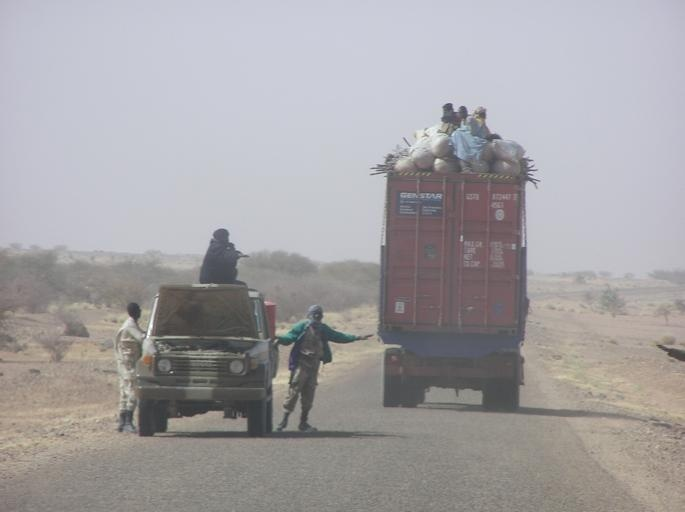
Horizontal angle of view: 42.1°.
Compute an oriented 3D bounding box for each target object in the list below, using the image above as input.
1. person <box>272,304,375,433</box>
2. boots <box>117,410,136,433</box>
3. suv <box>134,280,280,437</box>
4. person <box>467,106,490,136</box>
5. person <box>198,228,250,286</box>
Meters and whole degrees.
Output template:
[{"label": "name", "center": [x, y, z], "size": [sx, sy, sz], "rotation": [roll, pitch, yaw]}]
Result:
[{"label": "person", "center": [-0.703, 2.129, 16.793], "size": [0.625, 2.342, 1.282], "rotation": [-1, -3, 44]}, {"label": "boots", "center": [-3.989, 3.070, 16.397], "size": [0.331, 0.390, 0.425], "rotation": [1, 0, 16]}, {"label": "suv", "center": [-2.351, 1.899, 16.950], "size": [1.787, 1.965, 3.353], "rotation": [0, -8, 0]}, {"label": "person", "center": [3.019, -3.054, 20.136], "size": [0.498, 0.789, 0.949], "rotation": [1, -2, 9]}, {"label": "person", "center": [-2.633, 0.027, 19.969], "size": [1.010, 1.226, 0.921], "rotation": [7, 17, 4]}]
